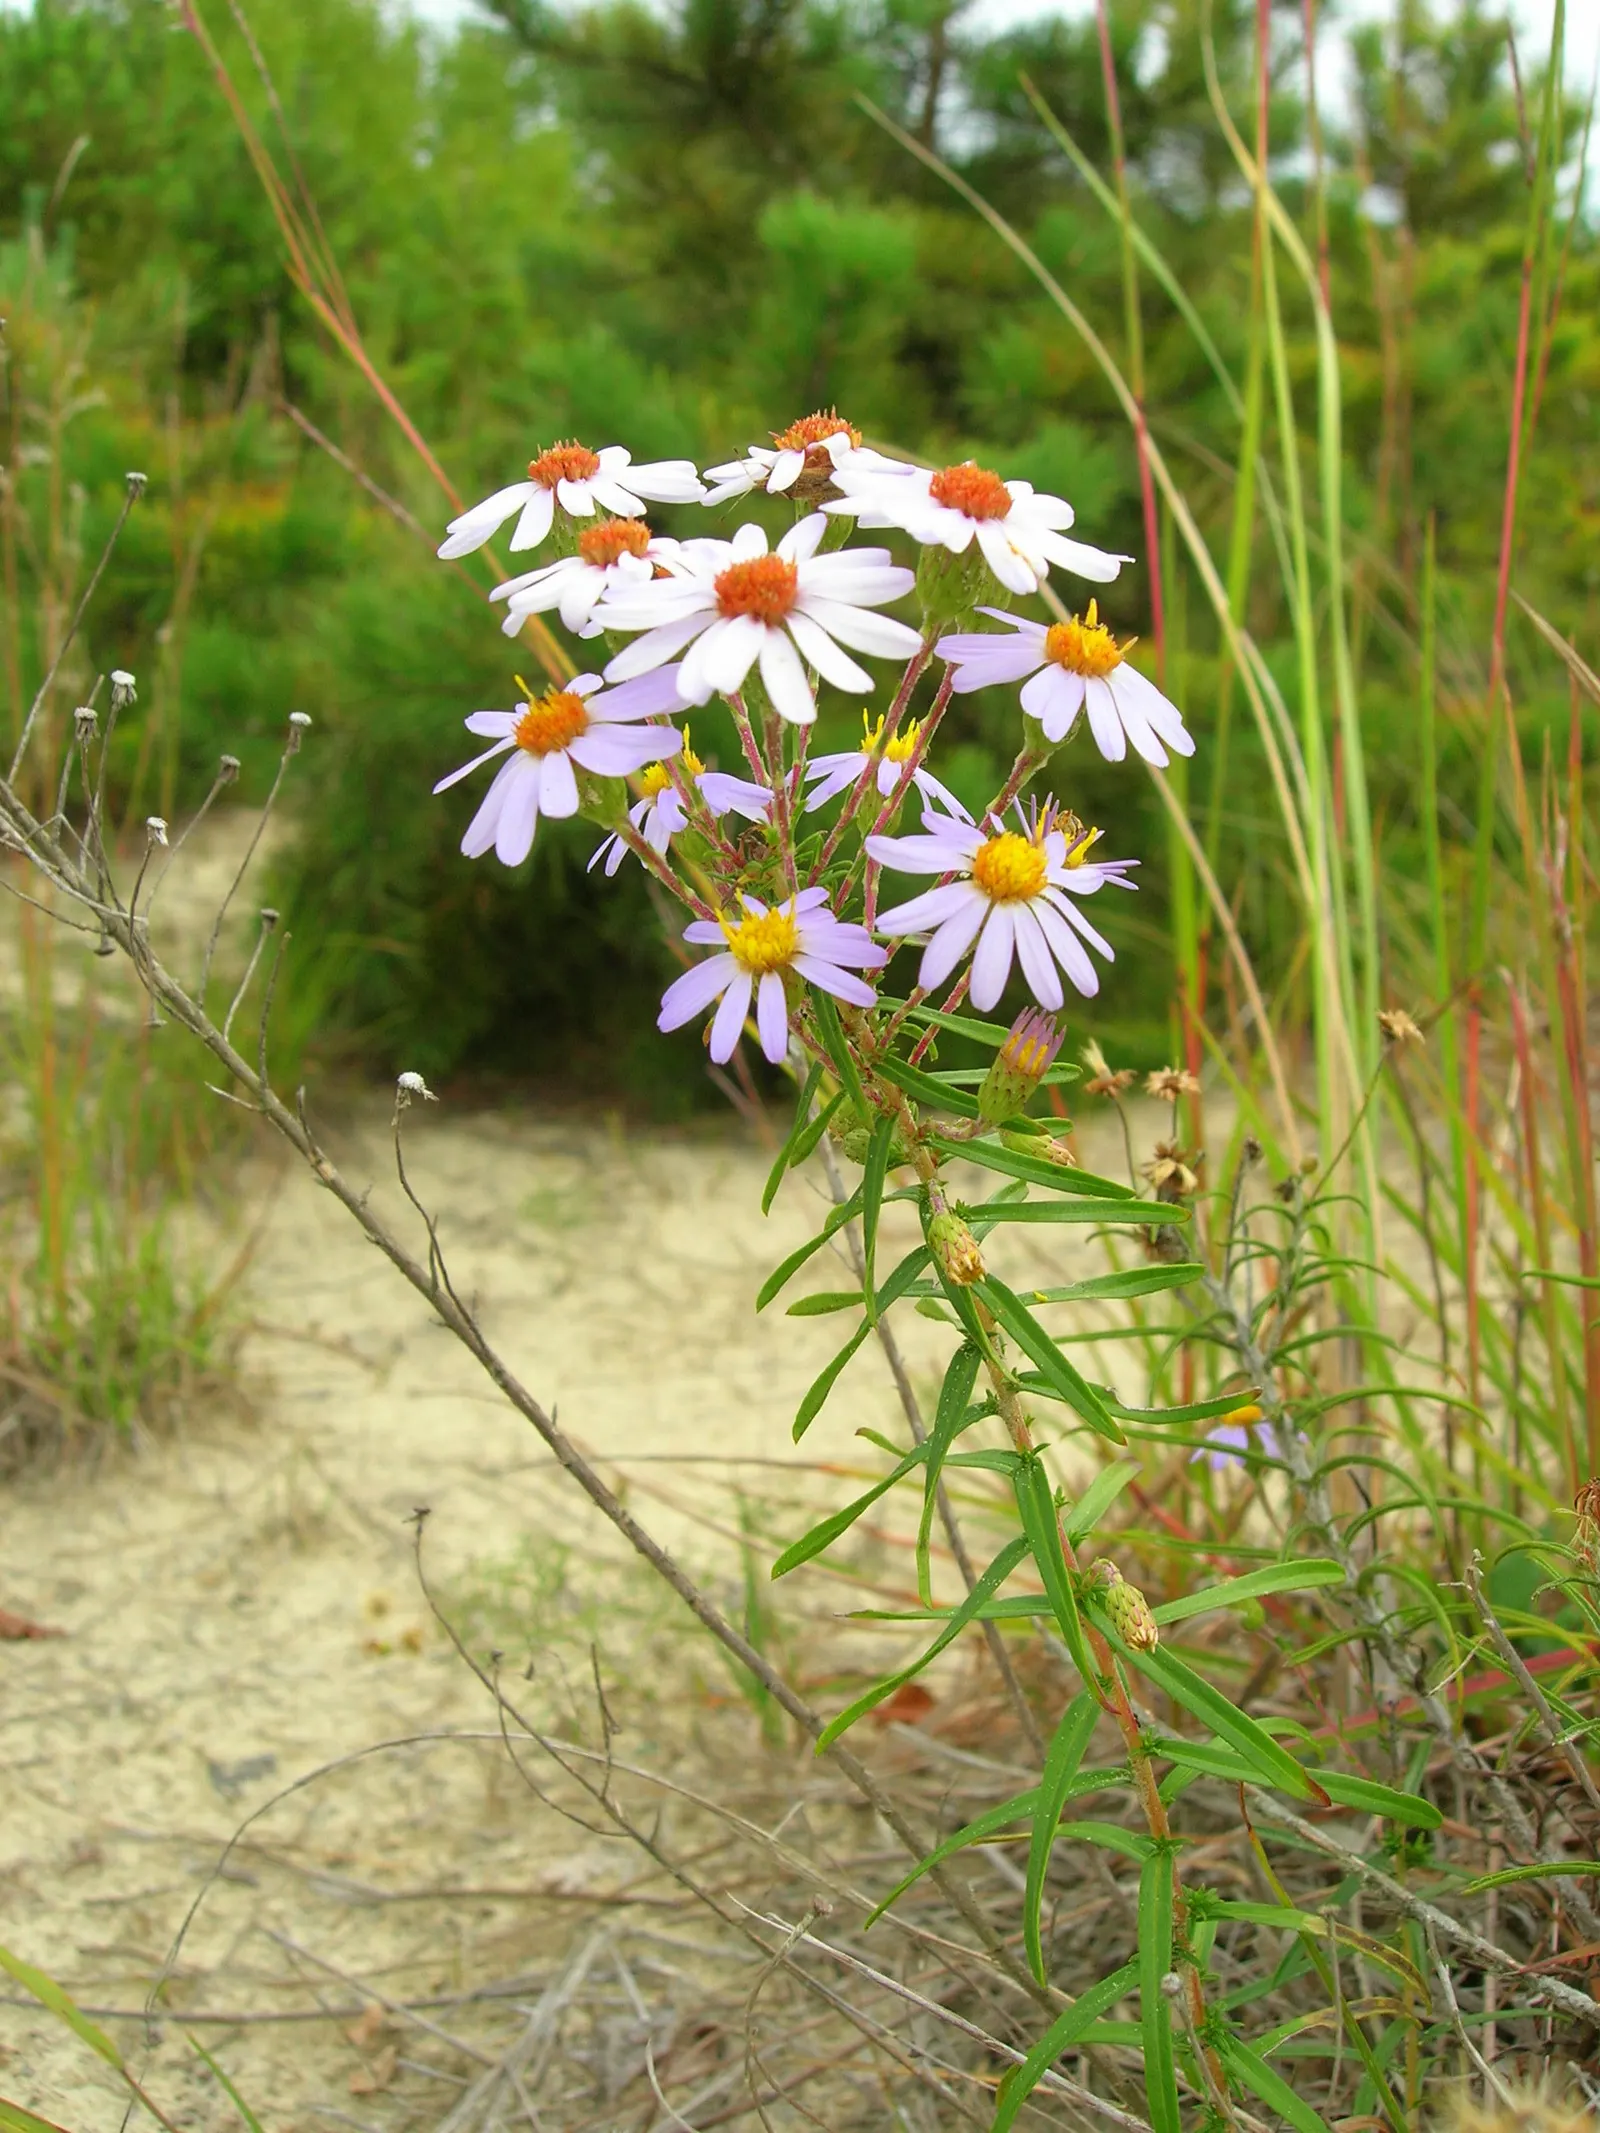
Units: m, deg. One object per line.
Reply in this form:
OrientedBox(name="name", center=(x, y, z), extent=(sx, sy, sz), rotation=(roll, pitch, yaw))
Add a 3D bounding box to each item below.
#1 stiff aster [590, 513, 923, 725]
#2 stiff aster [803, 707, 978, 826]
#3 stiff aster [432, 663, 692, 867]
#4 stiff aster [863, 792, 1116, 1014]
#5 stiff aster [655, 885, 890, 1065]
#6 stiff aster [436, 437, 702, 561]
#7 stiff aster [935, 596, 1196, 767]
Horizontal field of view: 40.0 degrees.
OrientedBox(name="stiff aster", center=(-0.024, -0.283, 1.394), extent=(0.176, 0.050, 0.159), rotation=(4, 42, 12))
OrientedBox(name="stiff aster", center=(0.059, -0.226, 1.607), extent=(0.127, 0.073, 0.118), rotation=(-1, -17, 9))
OrientedBox(name="stiff aster", center=(-0.162, -0.214, 1.451), extent=(0.161, 0.042, 0.154), rotation=(-18, -15, 38))
OrientedBox(name="stiff aster", center=(0.133, -0.101, 1.444), extent=(0.171, 0.052, 0.171), rotation=(-1, -7, 12))
OrientedBox(name="stiff aster", center=(-0.010, -0.067, 1.450), extent=(0.131, 0.130, 0.064), rotation=(-31, 32, 22))
OrientedBox(name="stiff aster", center=(-0.167, -0.394, 1.582), extent=(0.166, 0.061, 0.152), rotation=(-15, 17, -5))
OrientedBox(name="stiff aster", center=(0.191, -0.276, 1.494), extent=(0.151, 0.066, 0.142), rotation=(25, 15, -5))
